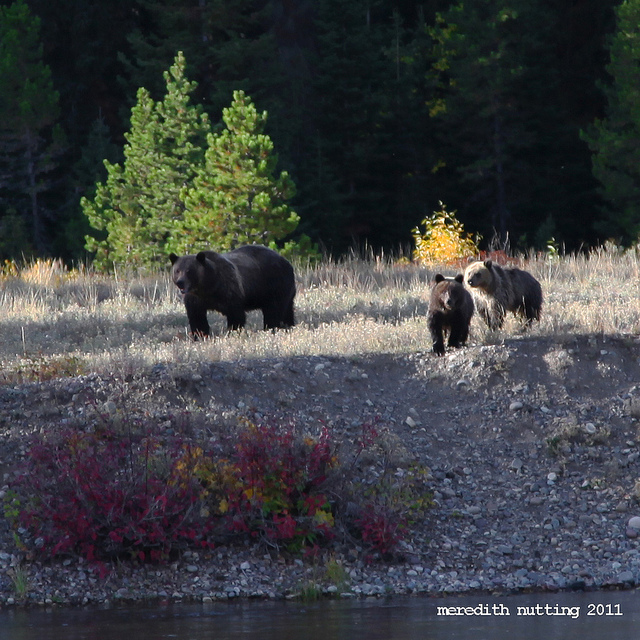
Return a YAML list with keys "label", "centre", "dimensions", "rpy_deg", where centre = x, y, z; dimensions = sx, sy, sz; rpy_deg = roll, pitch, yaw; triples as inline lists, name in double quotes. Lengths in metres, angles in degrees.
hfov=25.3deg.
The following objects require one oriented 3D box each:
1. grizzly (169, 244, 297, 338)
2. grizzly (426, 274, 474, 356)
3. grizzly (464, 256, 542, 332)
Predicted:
- label: "grizzly"
  centre: [-1.362, -0.464, 24.324]
  dimensions: [0.891, 1.834, 2.813]
  rpy_deg: [5, 7, 43]
- label: "grizzly"
  centre: [2.011, -0.127, 22.057]
  dimensions: [0.640, 1.226, 0.880]
  rpy_deg: [0, 3, 38]
- label: "grizzly"
  centre: [2.952, -0.457, 23.236]
  dimensions: [0.658, 1.126, 1.590]
  rpy_deg: [0, 4, 43]
